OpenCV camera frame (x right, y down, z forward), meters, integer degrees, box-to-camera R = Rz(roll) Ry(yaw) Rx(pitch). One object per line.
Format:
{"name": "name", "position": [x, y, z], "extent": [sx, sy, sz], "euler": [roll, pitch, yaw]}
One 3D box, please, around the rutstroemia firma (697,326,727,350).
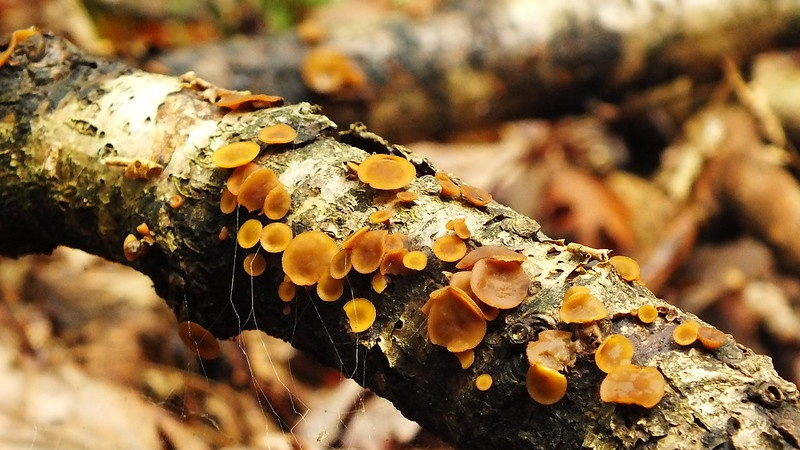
{"name": "rutstroemia firma", "position": [2.168, 0.785, 5.983], "extent": [0.173, 0.076, 0.162], "euler": [3, 25, -19]}

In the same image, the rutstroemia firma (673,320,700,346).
{"name": "rutstroemia firma", "position": [1.984, 0.760, 5.981], "extent": [0.170, 0.070, 0.159], "euler": [7, 58, 4]}

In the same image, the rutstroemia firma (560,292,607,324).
{"name": "rutstroemia firma", "position": [1.262, 0.584, 5.998], "extent": [0.309, 0.099, 0.198], "euler": [-1, 58, -1]}

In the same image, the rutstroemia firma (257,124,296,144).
{"name": "rutstroemia firma", "position": [-0.917, -0.669, 6.446], "extent": [0.283, 0.083, 0.180], "euler": [-4, 58, -3]}
